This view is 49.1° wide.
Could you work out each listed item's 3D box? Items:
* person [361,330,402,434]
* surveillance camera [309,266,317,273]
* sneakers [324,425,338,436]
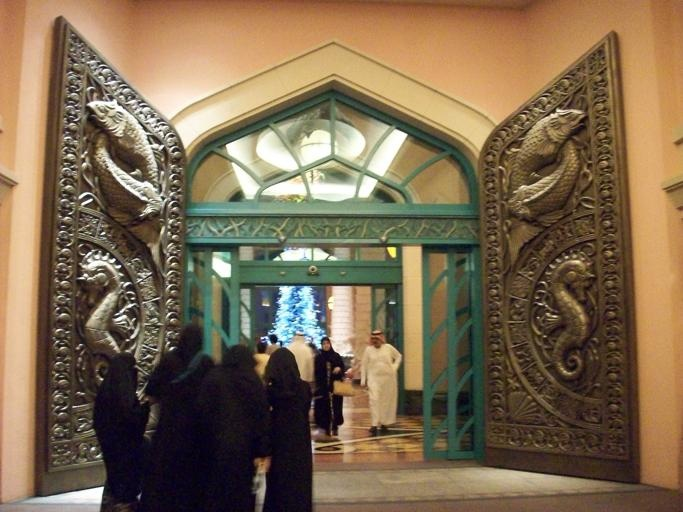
[{"bbox_3d":[0.617,1.854,11.080,0.554,1.484,0.665,0,-13,2],"label":"person"},{"bbox_3d":[-0.432,0.209,11.907,0.143,0.151,0.084,2,-13,-7],"label":"surveillance camera"},{"bbox_3d":[-0.124,2.442,10.472,0.171,0.150,0.336,0,-12,-1],"label":"sneakers"}]
